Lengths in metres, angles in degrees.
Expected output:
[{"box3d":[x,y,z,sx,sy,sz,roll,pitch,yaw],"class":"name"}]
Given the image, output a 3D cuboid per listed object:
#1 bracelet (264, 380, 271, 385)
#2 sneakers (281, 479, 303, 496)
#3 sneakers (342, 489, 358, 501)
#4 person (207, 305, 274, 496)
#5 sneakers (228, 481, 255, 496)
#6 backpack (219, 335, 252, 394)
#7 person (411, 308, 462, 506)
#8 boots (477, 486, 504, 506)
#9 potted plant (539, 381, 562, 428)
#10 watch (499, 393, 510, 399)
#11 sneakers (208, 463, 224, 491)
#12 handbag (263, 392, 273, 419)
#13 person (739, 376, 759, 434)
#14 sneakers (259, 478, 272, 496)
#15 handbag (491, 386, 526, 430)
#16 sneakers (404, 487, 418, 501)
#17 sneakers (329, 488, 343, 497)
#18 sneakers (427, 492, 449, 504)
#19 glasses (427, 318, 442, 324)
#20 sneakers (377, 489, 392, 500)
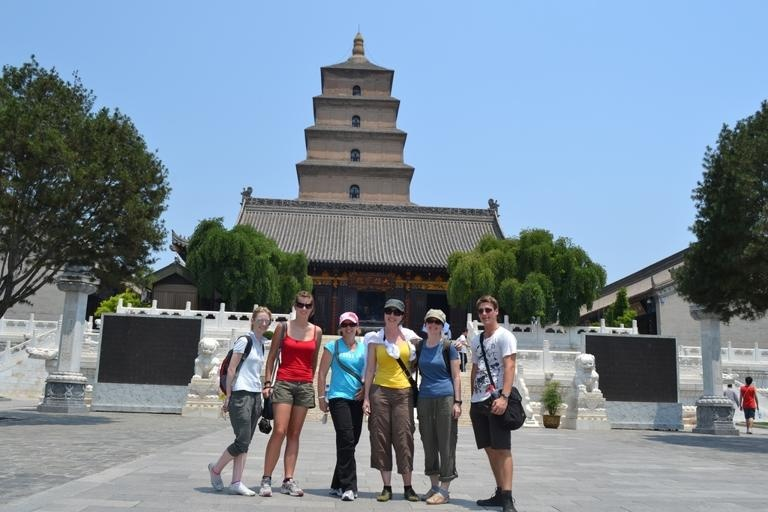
[{"box3d":[-1.696,1.819,10.909,0.091,0.063,0.094,2,-12,-10],"class":"bracelet"},{"box3d":[-1.333,3.311,10.825,0.351,0.232,0.227,1,-15,4],"class":"sneakers"},{"box3d":[-0.503,3.376,10.699,0.210,0.144,0.106,5,-15,-12],"class":"sneakers"},{"box3d":[-2.081,2.059,10.899,0.759,2.642,0.577,1,-14,5],"class":"person"},{"box3d":[-2.032,3.299,10.697,0.313,0.133,0.180,4,-3,6],"class":"sneakers"},{"box3d":[-2.180,1.567,11.132,0.361,0.690,0.444,11,-6,32],"class":"backpack"},{"box3d":[0.766,2.134,10.852,0.648,2.720,0.753,1,-14,3],"class":"person"},{"box3d":[1.487,3.420,10.705,0.397,0.264,0.171,4,-12,2],"class":"boots"},{"box3d":[4.388,3.822,19.639,0.504,1.276,0.648,-4,-16,22],"class":"potted plant"},{"box3d":[1.709,1.945,10.543,0.083,0.060,0.095,-4,-13,14],"class":"watch"},{"box3d":[-2.435,3.193,10.905,0.164,0.427,0.159,-16,-1,31],"class":"sneakers"},{"box3d":[-1.681,2.154,10.828,0.146,0.349,0.094,4,-14,-10],"class":"handbag"},{"box3d":[9.638,3.873,19.768,0.343,1.559,1.836,-5,-16,25],"class":"person"},{"box3d":[-1.688,3.262,10.707,0.172,0.265,0.106,5,-15,-12],"class":"sneakers"},{"box3d":[1.815,2.125,10.615,0.346,0.585,0.137,8,-16,-24],"class":"handbag"},{"box3d":[0.389,3.387,10.805,0.240,0.201,0.180,-2,-15,13],"class":"sneakers"},{"box3d":[-0.688,3.382,10.830,0.107,0.111,0.258,11,-17,-31],"class":"sneakers"},{"box3d":[0.751,3.400,10.633,0.139,0.104,0.276,-14,-22,38],"class":"sneakers"},{"box3d":[0.736,0.929,10.821,0.241,0.085,0.100,4,-15,-8],"class":"glasses"},{"box3d":[0.008,3.372,10.752,0.236,0.204,0.172,5,-15,-11],"class":"sneakers"}]
